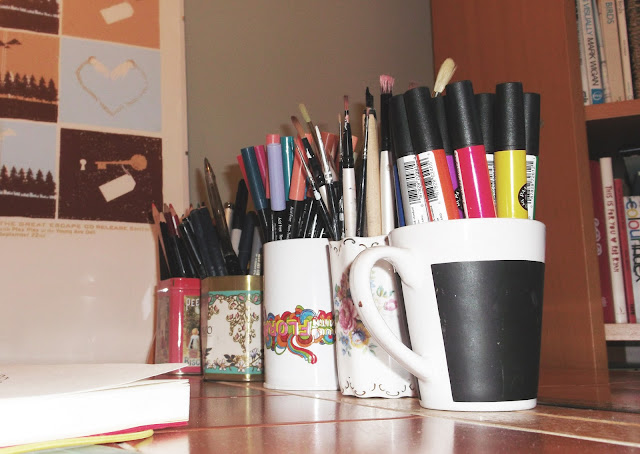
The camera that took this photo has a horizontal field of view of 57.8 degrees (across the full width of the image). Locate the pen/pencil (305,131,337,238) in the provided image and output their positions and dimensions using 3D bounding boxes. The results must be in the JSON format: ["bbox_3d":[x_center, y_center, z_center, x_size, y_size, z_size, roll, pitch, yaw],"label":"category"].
[{"bbox_3d":[0.006,-0.090,0.810,0.026,0.209,0.023,-9,-11,3],"label":"pen/pencil"}]

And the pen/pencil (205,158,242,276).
[{"bbox_3d":[-0.157,-0.011,0.940,0.026,0.202,0.028,-18,-10,15],"label":"pen/pencil"}]

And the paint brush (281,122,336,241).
[{"bbox_3d":[-0.003,-0.066,0.809,0.037,0.235,0.034,-15,-3,25],"label":"paint brush"}]

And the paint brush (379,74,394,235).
[{"bbox_3d":[0.091,-0.088,0.733,0.021,0.194,0.021,3,-4,-23],"label":"paint brush"}]

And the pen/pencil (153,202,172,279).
[{"bbox_3d":[-0.265,0.027,0.976,0.024,0.127,0.017,-10,1,27],"label":"pen/pencil"}]

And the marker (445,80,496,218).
[{"bbox_3d":[0.165,-0.085,0.637,0.052,0.153,0.039,-1,-3,12],"label":"marker"}]

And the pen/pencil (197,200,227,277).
[{"bbox_3d":[-0.164,0.027,0.891,0.025,0.143,0.021,-15,3,10],"label":"pen/pencil"}]

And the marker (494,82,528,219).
[{"bbox_3d":[0.209,-0.084,0.639,0.031,0.154,0.056,-2,-3,27],"label":"marker"}]

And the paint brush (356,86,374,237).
[{"bbox_3d":[0.063,-0.085,0.766,0.023,0.195,0.016,0,-7,24],"label":"paint brush"}]

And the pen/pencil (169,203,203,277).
[{"bbox_3d":[-0.214,0.027,0.927,0.019,0.119,0.020,-9,16,33],"label":"pen/pencil"}]

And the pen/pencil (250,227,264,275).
[{"bbox_3d":[-0.103,0.042,0.947,0.023,0.093,0.021,8,-39,-8],"label":"pen/pencil"}]

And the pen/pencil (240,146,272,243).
[{"bbox_3d":[-0.093,-0.054,0.868,0.029,0.180,0.027,-12,-4,-2],"label":"pen/pencil"}]

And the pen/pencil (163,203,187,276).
[{"bbox_3d":[-0.234,0.023,0.940,0.021,0.157,0.021,-2,11,22],"label":"pen/pencil"}]

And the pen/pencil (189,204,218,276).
[{"bbox_3d":[-0.174,0.027,0.921,0.028,0.137,0.023,-19,11,-31],"label":"pen/pencil"}]

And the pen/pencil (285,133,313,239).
[{"bbox_3d":[-0.033,-0.054,0.829,0.023,0.165,0.024,2,-8,2],"label":"pen/pencil"}]

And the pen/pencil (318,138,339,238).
[{"bbox_3d":[0.013,-0.051,0.775,0.018,0.177,0.018,-6,-13,-1],"label":"pen/pencil"}]
